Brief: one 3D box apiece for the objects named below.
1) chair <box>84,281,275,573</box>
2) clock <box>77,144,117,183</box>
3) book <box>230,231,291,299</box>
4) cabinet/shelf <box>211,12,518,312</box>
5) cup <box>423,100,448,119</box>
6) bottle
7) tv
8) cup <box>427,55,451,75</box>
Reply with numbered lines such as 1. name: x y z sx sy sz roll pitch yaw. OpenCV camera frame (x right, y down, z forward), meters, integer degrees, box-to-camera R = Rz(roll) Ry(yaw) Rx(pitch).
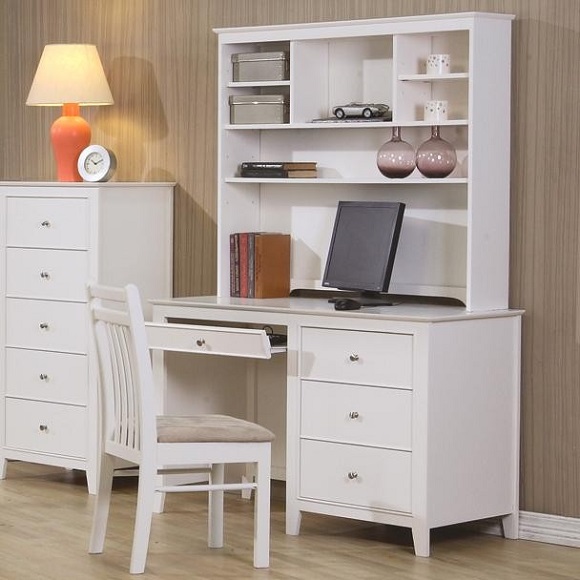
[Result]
1. chair: -0.356 0.392 2.406 0.735 1.288 0.717 0 1 -25
2. clock: -0.918 -0.583 3.057 0.199 0.168 0.177 1 7 1
3. book: -0.152 -0.103 2.735 0.265 0.332 0.237 -1 2 -27
4. cabinet/shelf: 0.315 -0.496 2.542 1.190 1.182 0.347 2 2 43
5. cup: 0.526 -0.642 2.361 0.075 0.059 0.077 0 7 0
6. bottle: 0.483 -0.510 2.451 0.294 0.194 0.147 5 8 31
7. tv: 0.273 -0.166 2.519 0.124 0.334 0.316 -6 10 -44
8. cup: 0.530 -0.802 2.336 0.083 0.066 0.087 1 16 0
